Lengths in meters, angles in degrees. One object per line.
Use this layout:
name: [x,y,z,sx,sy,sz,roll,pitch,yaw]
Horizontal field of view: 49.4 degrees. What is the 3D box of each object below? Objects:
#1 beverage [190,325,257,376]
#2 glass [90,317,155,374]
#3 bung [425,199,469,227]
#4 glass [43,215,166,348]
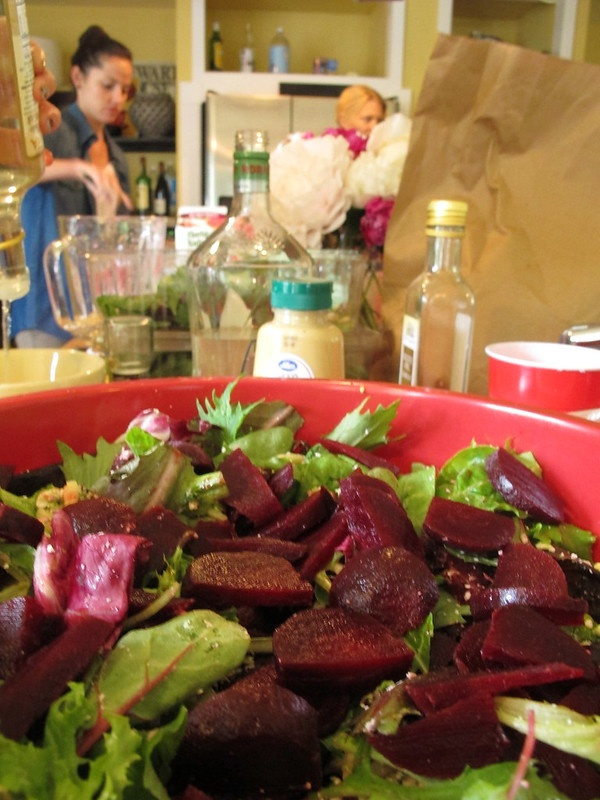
beverage: [-0.069,-0.045,0.599,0.054,0.042,0.058,0,5,-3]
glass: [-0.183,-0.056,0.699,0.051,0.063,0.069,-2,15,-15]
bung: [0.121,-0.152,0.539,0.028,0.019,0.028,11,18,36]
glass: [-0.301,-0.161,0.993,0.214,0.207,0.141,1,5,28]
